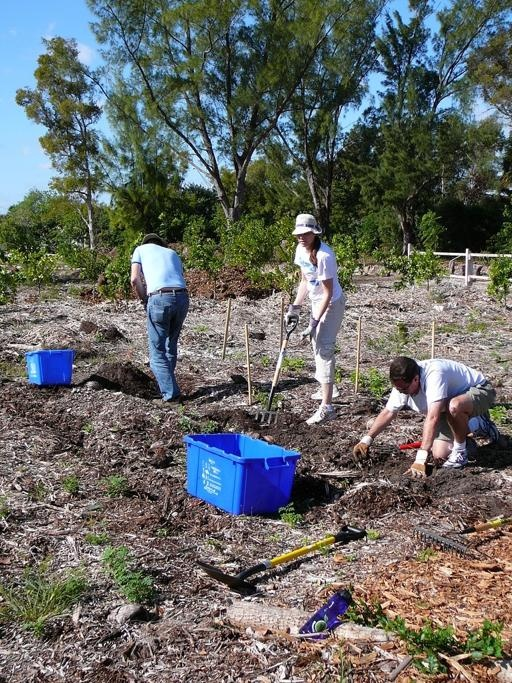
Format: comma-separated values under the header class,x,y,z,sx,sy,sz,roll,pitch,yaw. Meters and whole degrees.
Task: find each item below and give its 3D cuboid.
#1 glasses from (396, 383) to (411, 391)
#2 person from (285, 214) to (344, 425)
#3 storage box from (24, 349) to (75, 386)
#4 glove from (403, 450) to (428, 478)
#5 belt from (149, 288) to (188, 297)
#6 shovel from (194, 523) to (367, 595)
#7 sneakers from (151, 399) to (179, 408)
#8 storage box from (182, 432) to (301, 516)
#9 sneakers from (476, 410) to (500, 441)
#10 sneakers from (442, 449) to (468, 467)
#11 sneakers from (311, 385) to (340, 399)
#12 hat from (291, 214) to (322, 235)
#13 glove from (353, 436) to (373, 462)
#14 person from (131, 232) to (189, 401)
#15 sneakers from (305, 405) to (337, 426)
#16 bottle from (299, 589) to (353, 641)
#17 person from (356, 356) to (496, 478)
class,x,y,z,sx,sy,sz,roll,pitch,yaw
glasses,0.951,0.291,4.068,0.072,0.035,0.074,-1,7,8
person,0.501,-0.187,5.314,0.426,1.714,0.657,3,12,11
storage box,-1.902,0.231,5.882,0.404,0.323,0.326,-2,2,-21
glove,1.060,0.806,4.160,0.156,0.182,0.067,7,-5,31
belt,-0.789,-0.454,5.770,0.342,0.076,0.139,-3,12,-19
shovel,0.157,1.080,3.238,0.923,0.132,0.288,-13,11,-41
sneakers,-0.817,0.557,5.740,0.248,0.103,0.089,6,2,4
storage box,-0.168,0.812,4.009,0.495,0.326,0.626,5,5,-40
sneakers,1.747,0.645,4.795,0.090,0.263,0.124,-30,13,-38
sneakers,1.368,0.797,4.358,0.218,0.089,0.095,-1,-1,-41
sneakers,0.635,0.483,6.013,0.353,0.164,0.119,-1,4,4
hat,0.418,-0.937,5.157,0.219,0.118,0.228,1,14,7
glove,0.741,0.744,4.420,0.061,0.179,0.137,24,33,16
person,-0.897,-0.243,5.939,0.503,1.481,0.779,-2,12,-11
sneakers,0.555,0.584,5.363,0.292,0.130,0.106,-23,32,-17
bottle,0.289,1.107,2.590,0.227,0.114,0.076,-37,-19,-14
person,1.207,0.477,4.434,0.978,0.875,0.596,-11,16,-43
